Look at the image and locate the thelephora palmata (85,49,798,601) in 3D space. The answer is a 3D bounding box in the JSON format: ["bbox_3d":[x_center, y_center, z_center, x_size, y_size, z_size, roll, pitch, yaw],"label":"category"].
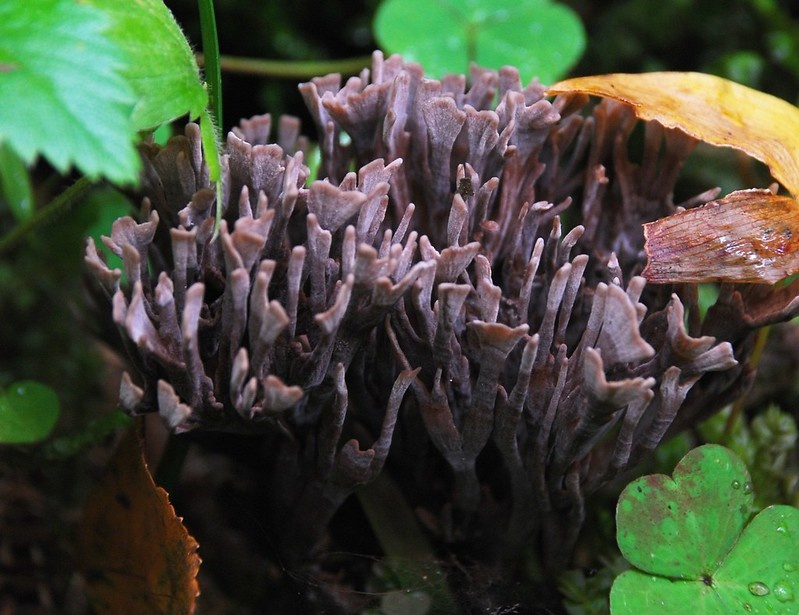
[{"bbox_3d":[0.108,-0.048,1.247,0.632,0.616,0.745,11,5,17],"label":"thelephora palmata"}]
